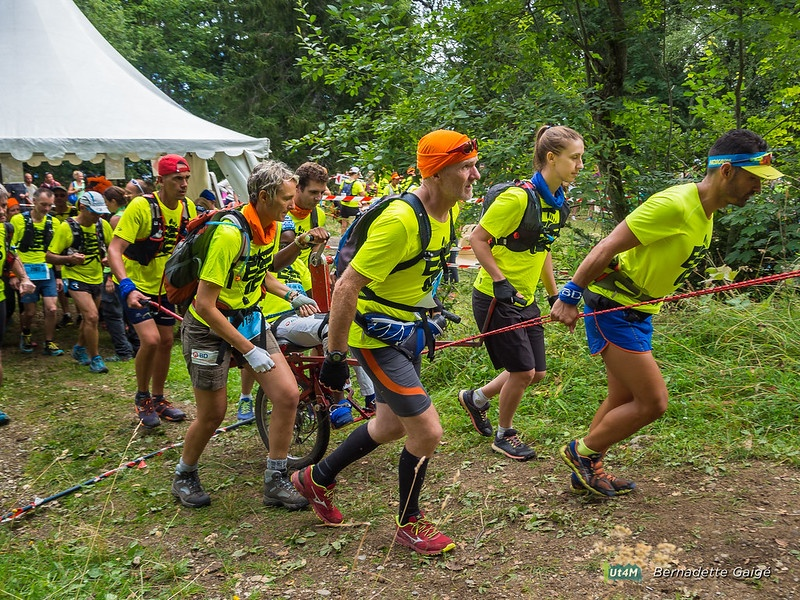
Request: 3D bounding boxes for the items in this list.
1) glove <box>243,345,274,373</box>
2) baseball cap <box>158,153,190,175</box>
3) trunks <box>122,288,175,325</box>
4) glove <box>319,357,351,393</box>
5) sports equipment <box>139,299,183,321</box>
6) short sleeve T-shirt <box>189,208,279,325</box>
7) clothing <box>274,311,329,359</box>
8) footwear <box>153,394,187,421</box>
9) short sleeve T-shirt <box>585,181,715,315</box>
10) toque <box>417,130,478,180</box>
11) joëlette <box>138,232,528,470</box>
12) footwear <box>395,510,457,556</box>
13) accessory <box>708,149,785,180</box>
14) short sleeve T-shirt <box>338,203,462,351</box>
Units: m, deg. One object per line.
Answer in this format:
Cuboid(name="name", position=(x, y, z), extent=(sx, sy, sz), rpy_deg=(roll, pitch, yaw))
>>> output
Cuboid(name="glove", position=(-1.072, 0.454, 5.183), extent=(0.189, 0.091, 0.247), rpy_deg=(30, -12, -31))
Cuboid(name="baseball cap", position=(-2.299, -1.334, 6.741), extent=(0.314, 0.132, 0.220), rpy_deg=(10, 21, 41))
Cuboid(name="trunks", position=(-2.521, 0.115, 6.787), extent=(0.538, 0.146, 0.389), rpy_deg=(11, 17, 37))
Cuboid(name="glove", position=(-0.441, 0.522, 4.708), extent=(0.216, 0.096, 0.248), rpy_deg=(-3, 31, -28))
Cuboid(name="sports equipment", position=(-2.338, 0.102, 6.601), extent=(0.569, 0.078, 0.087), rpy_deg=(20, 4, 33))
Cuboid(name="short sleeve T-shirt", position=(-1.302, -0.216, 5.335), extent=(0.370, 0.826, 0.746), rpy_deg=(11, 13, 23))
Cuboid(name="clothing", position=(-0.835, 0.281, 5.973), extent=(0.595, 0.264, 0.185), rpy_deg=(2, 37, 33))
Cuboid(name="footwear", position=(-2.451, 1.141, 7.207), extent=(0.499, 0.157, 0.159), rpy_deg=(13, 16, 12))
Cuboid(name="short sleeve T-shirt", position=(1.806, -0.391, 4.911), extent=(0.752, 0.904, 0.268), rpy_deg=(8, 13, 14))
Cuboid(name="toque", position=(0.311, -0.996, 4.632), extent=(0.448, 0.253, 0.333), rpy_deg=(-3, 14, 11))
Cuboid(name="joëlette", position=(-1.106, 0.344, 6.721), extent=(4.539, 1.752, 1.668), rpy_deg=(1, 6, 5))
Cuboid(name="footwear", position=(0.155, 1.704, 4.986), extent=(0.560, 0.192, 0.193), rpy_deg=(5, 7, 19))
Cuboid(name="accessory", position=(2.390, -0.941, 4.713), extent=(0.384, 0.102, 0.243), rpy_deg=(10, 16, 24))
Cuboid(name="short sleeve T-shirt", position=(-0.003, -0.163, 4.724), extent=(0.748, 1.145, 0.361), rpy_deg=(2, 14, -12))
